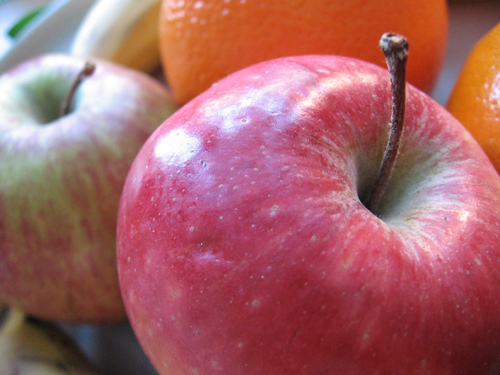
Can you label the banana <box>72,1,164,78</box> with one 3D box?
[{"bbox_3d":[-0.217,-0.251,0.873,0.122,0.114,0.137,-35,104,-23],"label":"banana"}]
